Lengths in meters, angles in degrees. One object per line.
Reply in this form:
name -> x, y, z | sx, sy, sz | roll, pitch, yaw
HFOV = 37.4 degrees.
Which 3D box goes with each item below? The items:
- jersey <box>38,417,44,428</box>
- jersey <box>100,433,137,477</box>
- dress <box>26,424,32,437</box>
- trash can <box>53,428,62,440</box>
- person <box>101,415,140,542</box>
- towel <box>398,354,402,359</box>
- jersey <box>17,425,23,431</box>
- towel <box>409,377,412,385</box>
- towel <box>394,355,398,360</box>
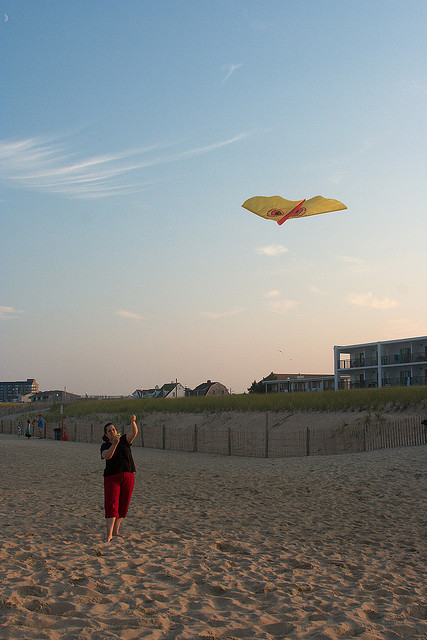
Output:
jersey -> -9.947, 5.896, 36.268 | 0.192, 0.551, 0.533 | -1, -6, -9
jersey -> -1.104, 1.527, 7.223 | 0.386, 0.455, 0.261 | -2, -5, -23
dress -> -9.765, 5.900, 33.204 | 0.216, 0.490, 0.640 | 0, -6, -21
trash can -> -7.910, 5.783, 32.023 | 0.580, 0.603, 0.522 | 2, -8, -27
person -> -1.114, 1.888, 7.458 | 0.438, 1.493, 1.145 | -1, -6, -8
towel -> 13.838, 2.708, 46.790 | 0.340, 0.309, 0.177 | 0, -6, -4
jersey -> -11.604, 6.433, 37.764 | 0.170, 0.359, 0.480 | 1, -6, -28
towel -> 14.032, 4.284, 44.842 | 0.170, 0.440, 0.689 | -4, -6, 19
towel -> 13.657, 2.757, 47.165 | 0.044, 0.339, 0.379 | 1, -6, -26
